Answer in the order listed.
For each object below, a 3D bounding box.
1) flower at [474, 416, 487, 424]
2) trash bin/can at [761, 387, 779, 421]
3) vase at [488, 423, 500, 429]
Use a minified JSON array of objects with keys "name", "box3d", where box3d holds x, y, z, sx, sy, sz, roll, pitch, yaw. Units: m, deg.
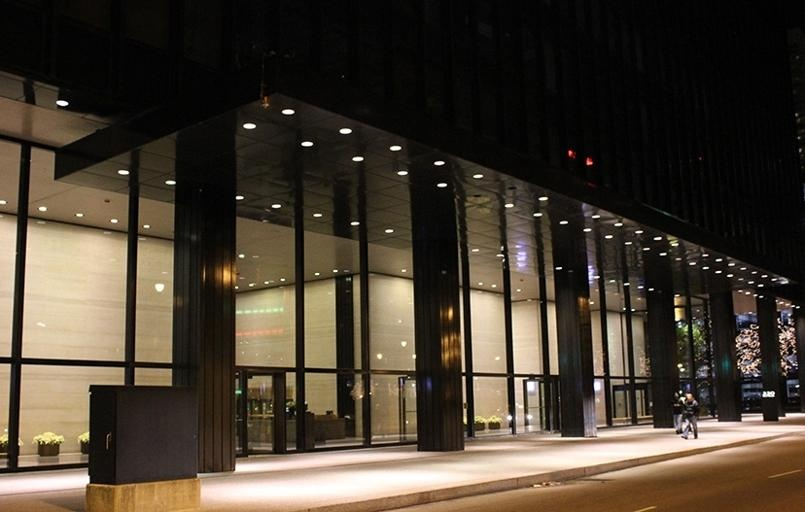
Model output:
[{"name":"flower","box3d":[3.790,8.011,37.596,0.455,0.175,0.466,-2,-6,23]},{"name":"trash bin/can","box3d":[22.568,9.128,48.162,1.025,2.245,1.000,0,-9,-7]},{"name":"vase","box3d":[4.478,8.373,38.089,0.402,0.430,0.745,-11,-15,38]}]
